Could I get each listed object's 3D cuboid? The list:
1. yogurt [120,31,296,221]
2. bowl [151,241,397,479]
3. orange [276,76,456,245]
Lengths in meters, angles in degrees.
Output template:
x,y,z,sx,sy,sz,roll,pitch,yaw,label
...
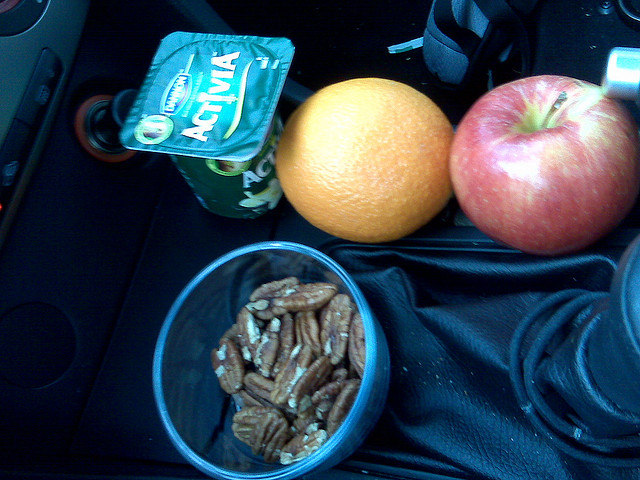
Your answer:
x,y,z,sx,sy,sz,roll,pitch,yaw,label
-0.084,-0.133,0.739,0.225,0.272,0.198,10,78,9,yogurt
-0.019,0.145,0.737,0.292,0.128,0.277,-8,73,28,bowl
0.068,-0.082,0.723,0.191,0.153,0.192,-28,65,-16,orange
